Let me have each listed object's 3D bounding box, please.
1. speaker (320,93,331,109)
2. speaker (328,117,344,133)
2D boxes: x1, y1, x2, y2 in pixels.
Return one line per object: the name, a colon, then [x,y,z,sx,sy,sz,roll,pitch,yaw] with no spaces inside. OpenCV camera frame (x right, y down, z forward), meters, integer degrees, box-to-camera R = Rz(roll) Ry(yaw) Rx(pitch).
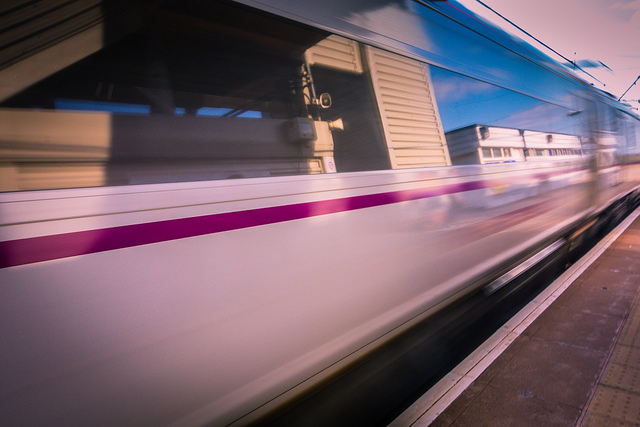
speaker: [0.039,-0.719,2.194,0.099,0.071,0.035,-7,3,-40]
speaker: [0.117,-0.568,2.240,0.121,0.071,0.067,-2,-18,-38]
